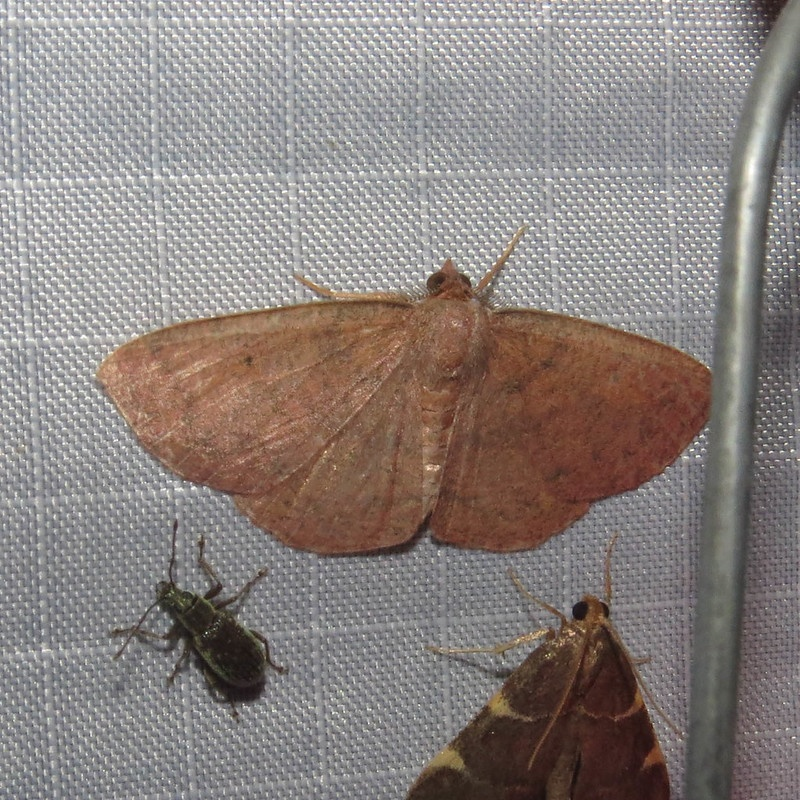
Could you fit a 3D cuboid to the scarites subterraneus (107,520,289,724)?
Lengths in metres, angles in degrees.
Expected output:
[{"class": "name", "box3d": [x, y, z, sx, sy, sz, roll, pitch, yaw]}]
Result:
[{"class": "scarites subterraneus", "box3d": [-0.291, 0.325, 2.297, 0.250, 0.069, 0.264, 40, 81, -3]}]
